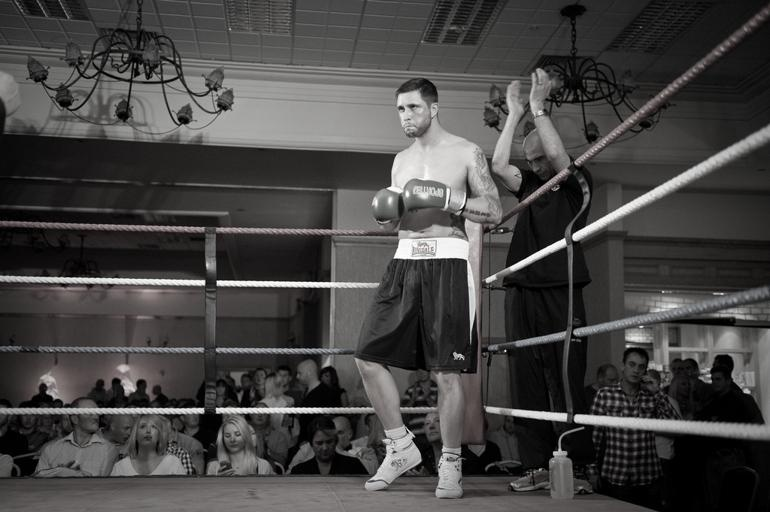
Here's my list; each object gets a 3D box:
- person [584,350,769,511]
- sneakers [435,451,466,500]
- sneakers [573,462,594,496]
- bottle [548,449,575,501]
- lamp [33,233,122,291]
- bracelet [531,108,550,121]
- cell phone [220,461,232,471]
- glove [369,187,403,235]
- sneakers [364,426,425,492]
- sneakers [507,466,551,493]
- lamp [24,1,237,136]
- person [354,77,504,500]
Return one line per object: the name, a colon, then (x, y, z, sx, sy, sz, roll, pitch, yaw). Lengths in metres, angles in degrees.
person: (1.974, 1.406, 5.061, 1.090, 1.318, 0.471, 5, -11, -38)
sneakers: (0.341, 1.146, 3.392, 0.149, 0.227, 0.270, -3, -8, 6)
sneakers: (1.081, 1.221, 3.471, 0.096, 0.134, 0.216, -4, -8, 15)
bottle: (0.910, 1.126, 3.285, 0.117, 0.249, 0.108, -2, -9, 0)
lamp: (-5.656, 0.103, 11.815, 0.959, 0.969, 0.923, -1, -6, 9)
bracelet: (0.932, -0.851, 3.816, 0.077, 0.080, 0.077, 3, -3, -14)
cell phone: (-1.306, 1.722, 5.209, 0.068, 0.065, 0.016, -2, -4, 1)
glove: (-0.005, -0.240, 3.563, 0.170, 0.203, 0.219, -3, -3, 5)
sneakers: (0.021, 1.089, 3.419, 0.395, 0.236, 0.132, -17, -2, -35)
sneakers: (0.807, 1.242, 3.489, 0.249, 0.111, 0.095, 2, -14, -8)
lamp: (-2.743, -2.006, 6.866, 1.963, 1.331, 2.132, 1, -9, -23)
person: (0.239, 0.121, 3.482, 0.818, 2.286, 0.427, -4, -9, 9)
